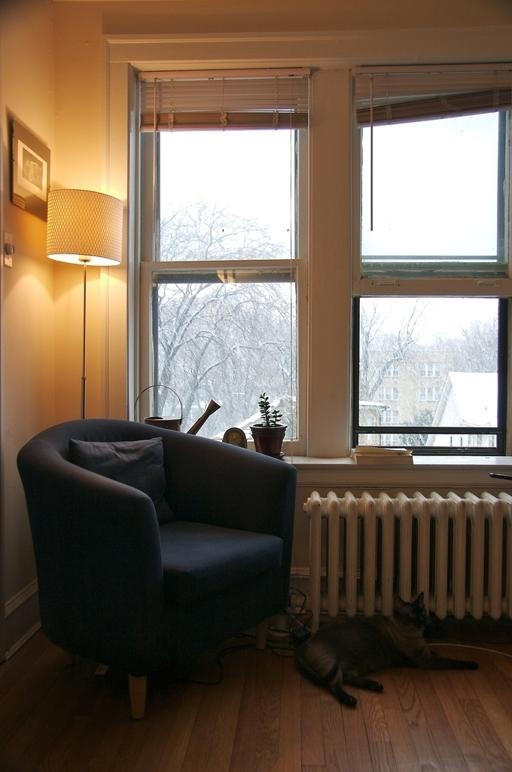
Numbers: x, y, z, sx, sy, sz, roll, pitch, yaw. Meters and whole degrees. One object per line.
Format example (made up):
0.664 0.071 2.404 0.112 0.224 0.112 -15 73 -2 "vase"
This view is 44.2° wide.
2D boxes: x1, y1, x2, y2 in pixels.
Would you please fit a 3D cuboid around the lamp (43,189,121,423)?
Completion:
-0.648 -0.306 2.433 0.280 0.880 0.380 0 3 -14 "lamp"

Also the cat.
0.352 0.808 1.931 0.367 0.207 0.313 -8 -1 -11 "cat"

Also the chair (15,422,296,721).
-0.338 0.490 1.986 0.715 0.817 0.746 -3 -5 37 "chair"

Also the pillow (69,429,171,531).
-0.441 0.321 2.179 0.324 0.420 0.174 2 34 2 "pillow"
